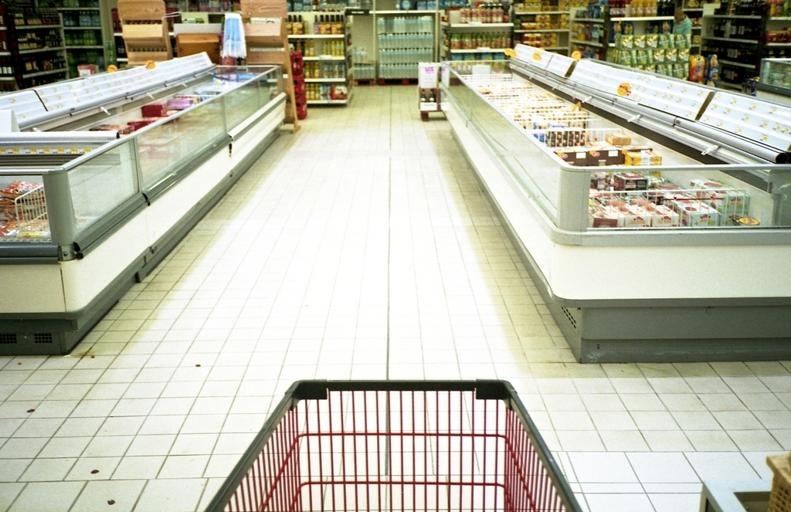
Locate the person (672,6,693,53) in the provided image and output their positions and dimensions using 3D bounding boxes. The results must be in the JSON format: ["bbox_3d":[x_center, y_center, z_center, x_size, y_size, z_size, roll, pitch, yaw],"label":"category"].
[{"bbox_3d":[5.399,-4.267,10.890,0.353,0.654,1.425,10,26,22],"label":"person"}]
